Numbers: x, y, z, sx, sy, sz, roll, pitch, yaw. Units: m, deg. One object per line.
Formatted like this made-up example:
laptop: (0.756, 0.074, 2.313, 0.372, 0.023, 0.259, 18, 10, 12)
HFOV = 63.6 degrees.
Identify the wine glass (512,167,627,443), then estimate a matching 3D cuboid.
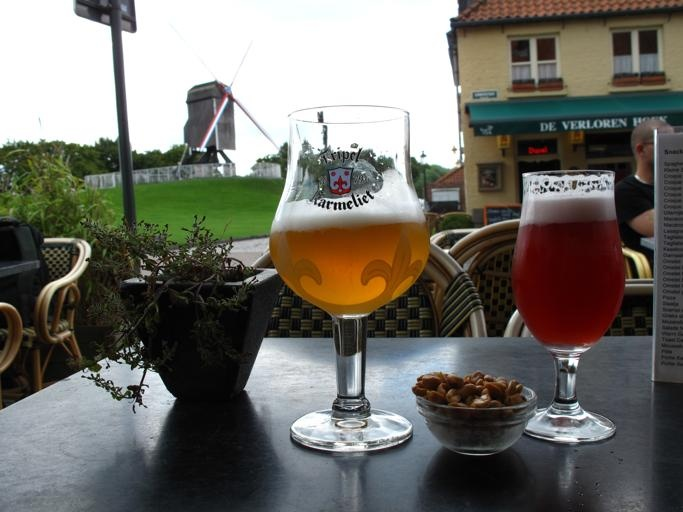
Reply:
wine glass: (0.201, 0.043, 0.554, 0.101, 0.258, 0.105, 0, 7, -9)

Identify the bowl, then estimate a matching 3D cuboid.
bowl: (0.115, 0.136, 0.476, 0.105, 0.058, 0.074, 0, 7, 7)

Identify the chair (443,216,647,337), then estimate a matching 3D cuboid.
chair: (0.554, 0.031, 1.836, 0.553, 0.461, 0.664, 1, 0, 5)

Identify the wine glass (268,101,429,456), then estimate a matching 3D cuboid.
wine glass: (0.006, 0.020, 0.558, 0.142, 0.310, 0.150, -1, 0, 2)
